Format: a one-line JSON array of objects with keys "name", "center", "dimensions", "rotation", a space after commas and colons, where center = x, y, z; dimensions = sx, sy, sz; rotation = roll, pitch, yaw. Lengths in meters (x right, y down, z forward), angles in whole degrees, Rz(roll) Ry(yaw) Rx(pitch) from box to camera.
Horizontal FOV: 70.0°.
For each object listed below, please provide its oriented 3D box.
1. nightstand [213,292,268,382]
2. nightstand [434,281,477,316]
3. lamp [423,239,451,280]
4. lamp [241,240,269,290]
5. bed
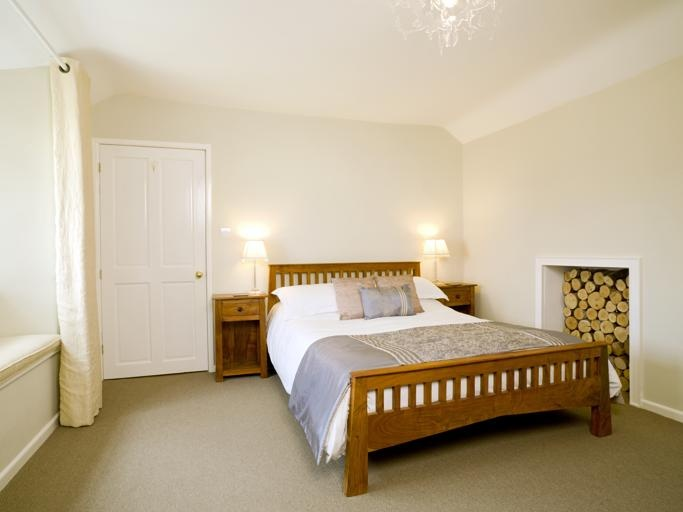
[{"name": "nightstand", "center": [-1.058, 0.820, 5.042], "dimensions": [0.536, 0.808, 0.500], "rotation": [-1, -4, -6]}, {"name": "nightstand", "center": [1.368, 0.451, 5.678], "dimensions": [0.497, 0.504, 0.369], "rotation": [-1, 1, -30]}, {"name": "lamp", "center": [1.111, 0.050, 5.774], "dimensions": [0.361, 0.532, 0.380], "rotation": [-3, 7, -2]}, {"name": "lamp", "center": [-0.909, 0.096, 5.092], "dimensions": [0.265, 0.543, 0.306], "rotation": [-3, 12, -9]}, {"name": "bed", "center": [0.528, 0.791, 4.690], "dimensions": [2.487, 1.408, 3.081], "rotation": [-2, 3, -29]}]
